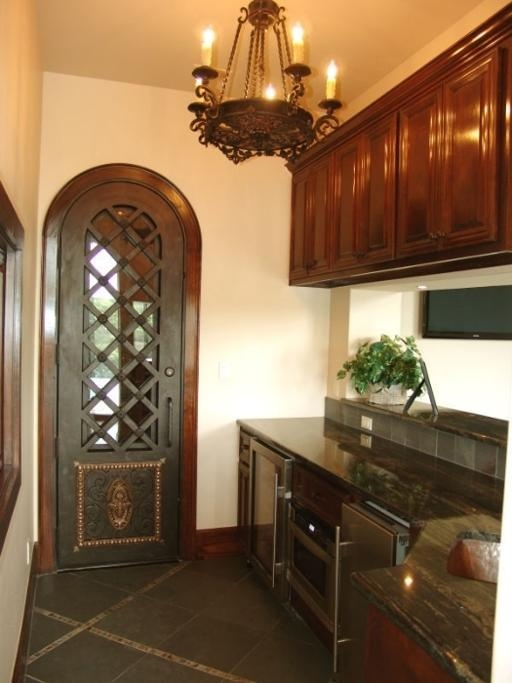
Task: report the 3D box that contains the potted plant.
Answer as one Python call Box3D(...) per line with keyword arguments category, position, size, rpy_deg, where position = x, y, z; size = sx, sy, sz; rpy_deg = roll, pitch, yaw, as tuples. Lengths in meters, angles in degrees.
Box3D(category="potted plant", position=(0.699, 0.151, 3.015), size=(0.403, 0.278, 0.406), rpy_deg=(-3, 9, -40))
